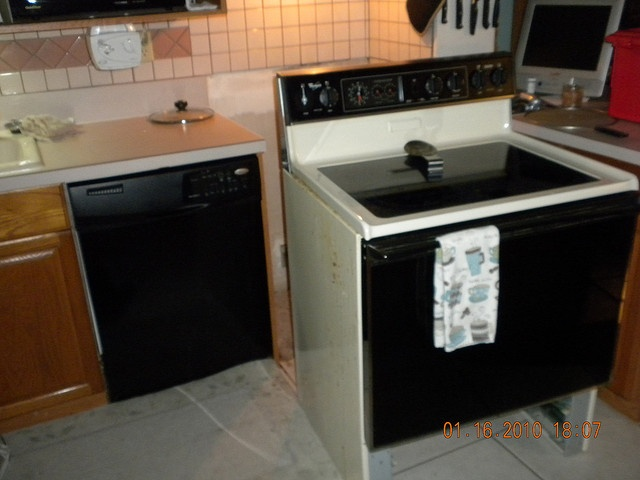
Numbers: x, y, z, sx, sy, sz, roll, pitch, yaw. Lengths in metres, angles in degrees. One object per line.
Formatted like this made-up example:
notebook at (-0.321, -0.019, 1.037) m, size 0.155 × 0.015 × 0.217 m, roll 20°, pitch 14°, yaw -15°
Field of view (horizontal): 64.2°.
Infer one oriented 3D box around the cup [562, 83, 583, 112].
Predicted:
cup at (1.108, -0.625, 2.236) m, size 0.082 × 0.113 × 0.133 m, roll -7°, pitch 15°, yaw -2°

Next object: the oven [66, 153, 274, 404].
oven at (-0.523, -0.037, 2.385) m, size 0.847 × 1.195 × 0.868 m, roll -15°, pitch 31°, yaw -26°
